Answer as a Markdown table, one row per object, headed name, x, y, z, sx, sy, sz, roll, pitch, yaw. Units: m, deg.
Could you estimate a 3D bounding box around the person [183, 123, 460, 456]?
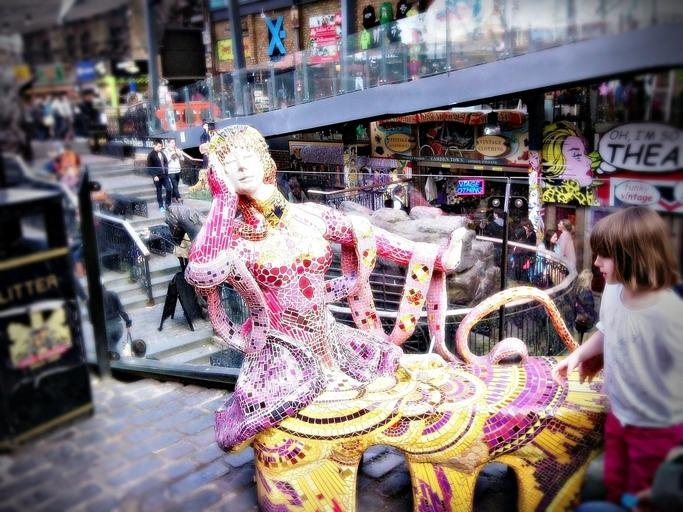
| name | x | y | z | sx | sy | sz | roll | pitch | yaw |
| --- | --- | --- | --- | --- | --- | --- | --- | --- | --- |
| person | -0.199 | 0.144 | 3.108 | 1.347 | 1.820 | 0.585 | -9 | 14 | -22 |
